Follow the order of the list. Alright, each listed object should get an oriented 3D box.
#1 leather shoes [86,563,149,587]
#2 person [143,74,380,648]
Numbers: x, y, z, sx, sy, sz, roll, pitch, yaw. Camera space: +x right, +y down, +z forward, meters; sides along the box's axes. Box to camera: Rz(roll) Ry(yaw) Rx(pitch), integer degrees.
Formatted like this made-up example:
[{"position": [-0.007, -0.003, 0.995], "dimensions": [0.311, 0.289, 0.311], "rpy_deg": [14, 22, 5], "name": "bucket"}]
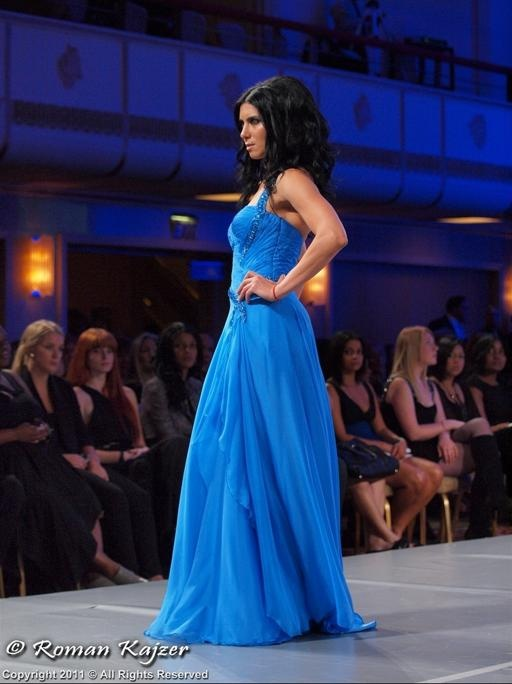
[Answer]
[{"position": [-0.591, 1.002, 3.538], "dimensions": [0.234, 0.083, 0.163], "rpy_deg": [1, -8, -11], "name": "leather shoes"}, {"position": [-0.002, 0.034, 2.333], "dimensions": [0.572, 1.555, 0.427], "rpy_deg": [-2, -8, 10], "name": "person"}]
